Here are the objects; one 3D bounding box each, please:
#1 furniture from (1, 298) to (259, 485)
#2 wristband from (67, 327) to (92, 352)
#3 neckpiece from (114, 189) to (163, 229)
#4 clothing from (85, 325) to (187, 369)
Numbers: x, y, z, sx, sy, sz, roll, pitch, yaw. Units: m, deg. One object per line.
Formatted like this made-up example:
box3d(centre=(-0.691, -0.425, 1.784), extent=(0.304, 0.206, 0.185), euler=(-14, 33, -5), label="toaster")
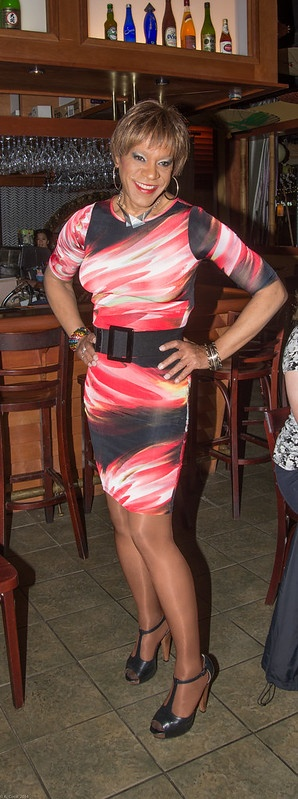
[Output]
box3d(centre=(-0.142, -0.029, 2.035), extent=(0.829, 0.839, 0.329), euler=(-3, 12, -8), label="furniture")
box3d(centre=(-0.197, -0.167, 1.410), extent=(0.024, 0.057, 0.071), euler=(23, 55, -4), label="wristband")
box3d(centre=(-0.039, -0.430, 1.134), extent=(0.124, 0.100, 0.060), euler=(4, 7, 36), label="neckpiece")
box3d(centre=(-0.029, -0.127, 1.202), extent=(0.213, 0.096, 0.129), euler=(-1, 6, -2), label="clothing")
